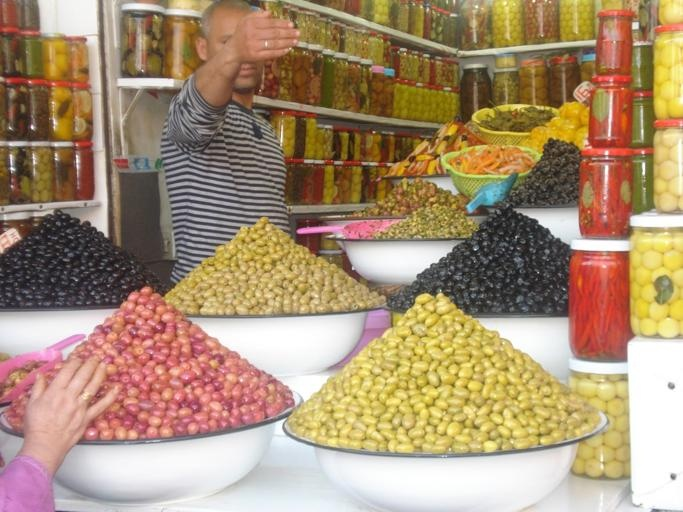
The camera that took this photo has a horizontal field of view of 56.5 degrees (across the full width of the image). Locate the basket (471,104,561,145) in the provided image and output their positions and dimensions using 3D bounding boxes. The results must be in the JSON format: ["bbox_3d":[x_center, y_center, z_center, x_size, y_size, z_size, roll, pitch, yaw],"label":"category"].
[{"bbox_3d":[0.887,-0.652,3.235,0.398,0.143,0.411,-2,17,5],"label":"basket"}]

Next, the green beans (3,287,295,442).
[{"bbox_3d":[-0.374,0.277,1.388,0.552,0.220,0.529,-14,4,11],"label":"green beans"}]

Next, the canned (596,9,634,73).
[{"bbox_3d":[0.621,-0.481,1.445,0.076,0.155,0.087,2,7,20],"label":"canned"}]

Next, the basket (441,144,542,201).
[{"bbox_3d":[0.600,-0.344,2.493,0.299,0.107,0.287,-5,7,-17],"label":"basket"}]
